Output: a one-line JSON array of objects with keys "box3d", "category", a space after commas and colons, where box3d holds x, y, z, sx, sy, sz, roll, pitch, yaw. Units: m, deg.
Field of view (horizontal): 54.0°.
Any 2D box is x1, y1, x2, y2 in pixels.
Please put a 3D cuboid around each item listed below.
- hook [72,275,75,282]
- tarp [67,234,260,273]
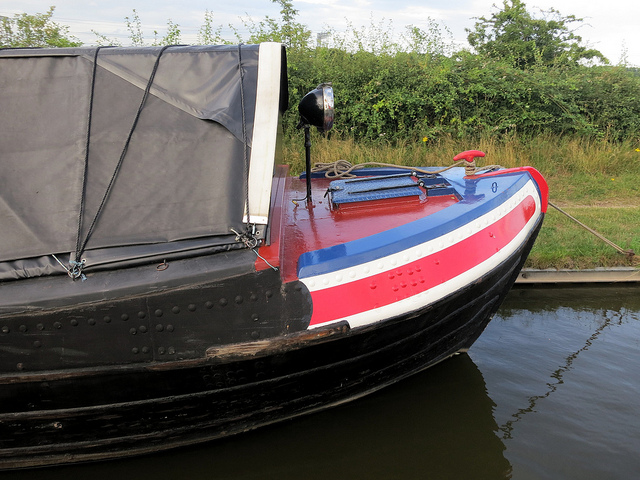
[{"box3d": [-1.851, 0.293, 4.699, 0.017, 0.050, 0.017, 0, 16, -2], "category": "hook"}, {"box3d": [-1.277, 0.109, 4.599, 1.365, 0.277, 0.168, -5, -8, -2], "category": "tarp"}]
